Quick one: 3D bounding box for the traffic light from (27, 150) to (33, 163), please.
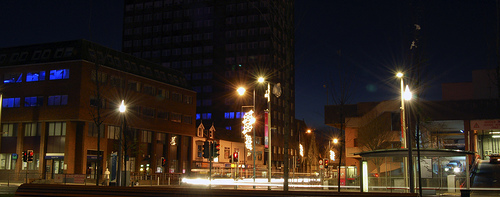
[{"bbox_3d":[-56.531,14.572,104.218,0.764,2.574,1.154,-12,-23,28],"label":"traffic light"}]
